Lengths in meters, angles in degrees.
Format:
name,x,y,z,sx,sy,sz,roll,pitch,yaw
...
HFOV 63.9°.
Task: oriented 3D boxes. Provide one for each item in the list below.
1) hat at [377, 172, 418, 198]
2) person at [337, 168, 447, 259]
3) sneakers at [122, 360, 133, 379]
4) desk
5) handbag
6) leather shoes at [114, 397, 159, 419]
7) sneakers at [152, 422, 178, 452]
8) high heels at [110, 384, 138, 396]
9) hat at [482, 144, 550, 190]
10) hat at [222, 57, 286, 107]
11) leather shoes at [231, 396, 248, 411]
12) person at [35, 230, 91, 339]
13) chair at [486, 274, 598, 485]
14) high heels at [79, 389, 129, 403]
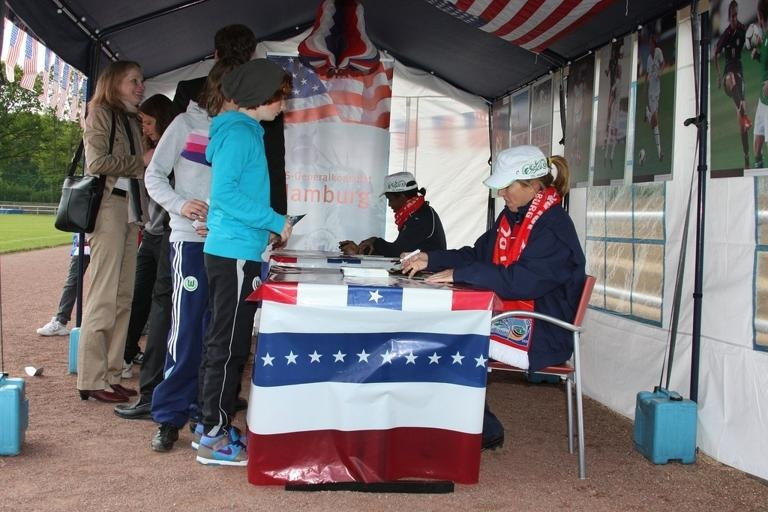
name,x,y,z,sx,sy,sz,roll,pitch,yaw
hat,0.169,-0.751,6.368,0.290,0.171,0.214,-1,8,6
person,0.092,-0.336,6.423,1.122,1.108,0.796,-5,9,-12
sneakers,-2.193,0.979,5.295,0.079,0.104,0.219,1,7,-12
desk,-0.102,0.636,3.787,1.199,0.957,1.242,3,0,-6
handbag,-2.211,-0.594,4.582,0.437,0.945,0.477,0,12,-12
leather shoes,-1.760,1.102,4.385,0.353,0.163,0.163,7,-3,-10
sneakers,-1.415,1.181,3.978,0.085,0.109,0.229,3,-9,0
high heels,-1.976,1.029,4.720,0.198,0.084,0.075,6,-1,-1
hat,0.874,-0.615,4.134,0.439,0.231,0.312,-13,20,-6
hat,-0.789,-1.058,3.767,0.386,0.294,0.159,-1,12,-15
leather shoes,-1.060,1.107,4.637,0.143,0.095,0.148,2,1,-1
person,-3.319,0.361,6.541,0.371,1.122,0.350,22,-44,-40
chair,1.199,0.722,4.160,0.595,1.278,1.459,10,14,33
high heels,-2.089,1.018,4.646,0.351,0.149,0.141,-1,-3,-7
